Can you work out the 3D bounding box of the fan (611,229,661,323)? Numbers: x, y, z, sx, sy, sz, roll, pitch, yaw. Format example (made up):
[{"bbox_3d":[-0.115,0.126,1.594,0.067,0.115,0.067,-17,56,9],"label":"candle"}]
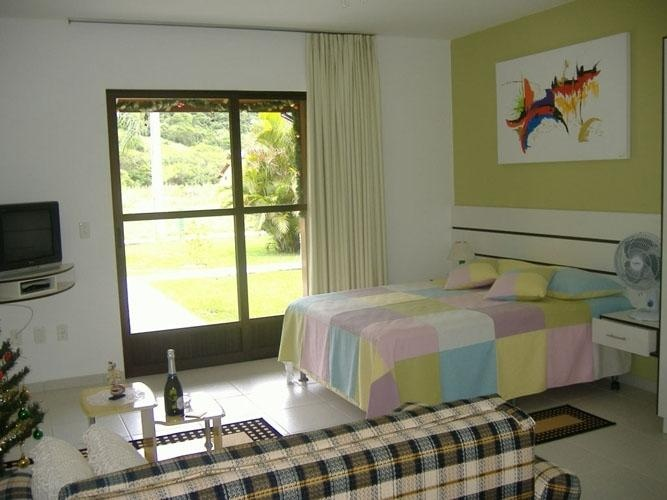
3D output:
[{"bbox_3d":[2.417,0.206,4.302,0.304,0.664,0.221,1,9,29],"label":"fan"}]

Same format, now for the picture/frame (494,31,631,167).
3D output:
[{"bbox_3d":[2.272,-1.473,5.248,0.055,1.034,1.411,-7,11,-30],"label":"picture/frame"}]
